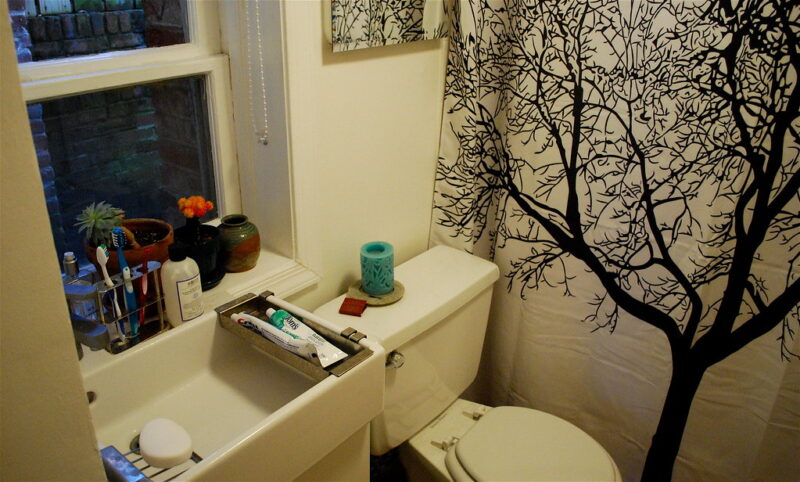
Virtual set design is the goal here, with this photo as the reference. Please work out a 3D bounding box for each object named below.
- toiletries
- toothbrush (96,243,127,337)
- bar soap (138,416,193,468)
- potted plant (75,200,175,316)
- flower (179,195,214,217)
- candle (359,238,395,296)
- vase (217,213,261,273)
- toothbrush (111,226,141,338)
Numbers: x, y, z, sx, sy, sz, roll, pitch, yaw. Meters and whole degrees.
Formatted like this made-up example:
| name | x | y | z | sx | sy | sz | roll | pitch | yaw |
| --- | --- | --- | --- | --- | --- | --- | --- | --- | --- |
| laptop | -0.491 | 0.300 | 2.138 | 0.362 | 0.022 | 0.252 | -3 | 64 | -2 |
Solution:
| name | x | y | z | sx | sy | sz | roll | pitch | yaw |
| --- | --- | --- | --- | --- | --- | --- | --- | --- | --- |
| toiletries | -0.609 | 0.128 | 1.502 | 0.116 | 0.271 | 0.113 | 11 | 32 | 13 |
| toothbrush | -0.765 | 0.144 | 1.433 | 0.031 | 0.271 | 0.039 | -4 | 5 | 45 |
| bar soap | -0.558 | 0.473 | 1.260 | 0.145 | 0.034 | 0.109 | 28 | 21 | 37 |
| potted plant | -0.748 | 0.026 | 1.557 | 0.246 | 0.300 | 0.141 | 15 | 26 | 23 |
| flower | -0.603 | -0.116 | 1.606 | 0.078 | 0.054 | 0.078 | 12 | 28 | 22 |
| candle | -0.075 | 0.097 | 1.831 | 0.114 | 0.156 | 0.109 | -4 | 25 | -3 |
| vase | -0.498 | 0.012 | 1.726 | 0.123 | 0.175 | 0.129 | 25 | 35 | 37 |
| toothbrush | -0.740 | 0.112 | 1.459 | 0.031 | 0.040 | 0.311 | -19 | 70 | 1 |
